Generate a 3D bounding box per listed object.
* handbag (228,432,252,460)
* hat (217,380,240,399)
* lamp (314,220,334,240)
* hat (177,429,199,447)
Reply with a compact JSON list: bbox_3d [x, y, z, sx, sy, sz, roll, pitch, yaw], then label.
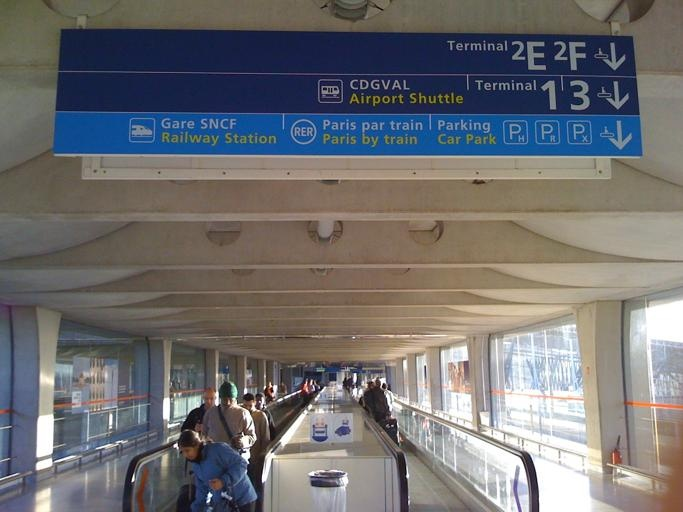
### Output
[{"bbox_3d":[-1.515,2.835,8.523,0.327,0.232,0.432,5,-8,-44],"label":"handbag"},{"bbox_3d":[-1.749,2.063,8.876,0.248,0.268,0.295,0,-3,-8],"label":"hat"},{"bbox_3d":[-0.270,-0.463,9.956,0.261,0.325,0.540,-2,-10,-2],"label":"lamp"},{"bbox_3d":[-1.831,2.172,6.907,0.170,0.254,0.235,2,-2,-3],"label":"hat"}]
